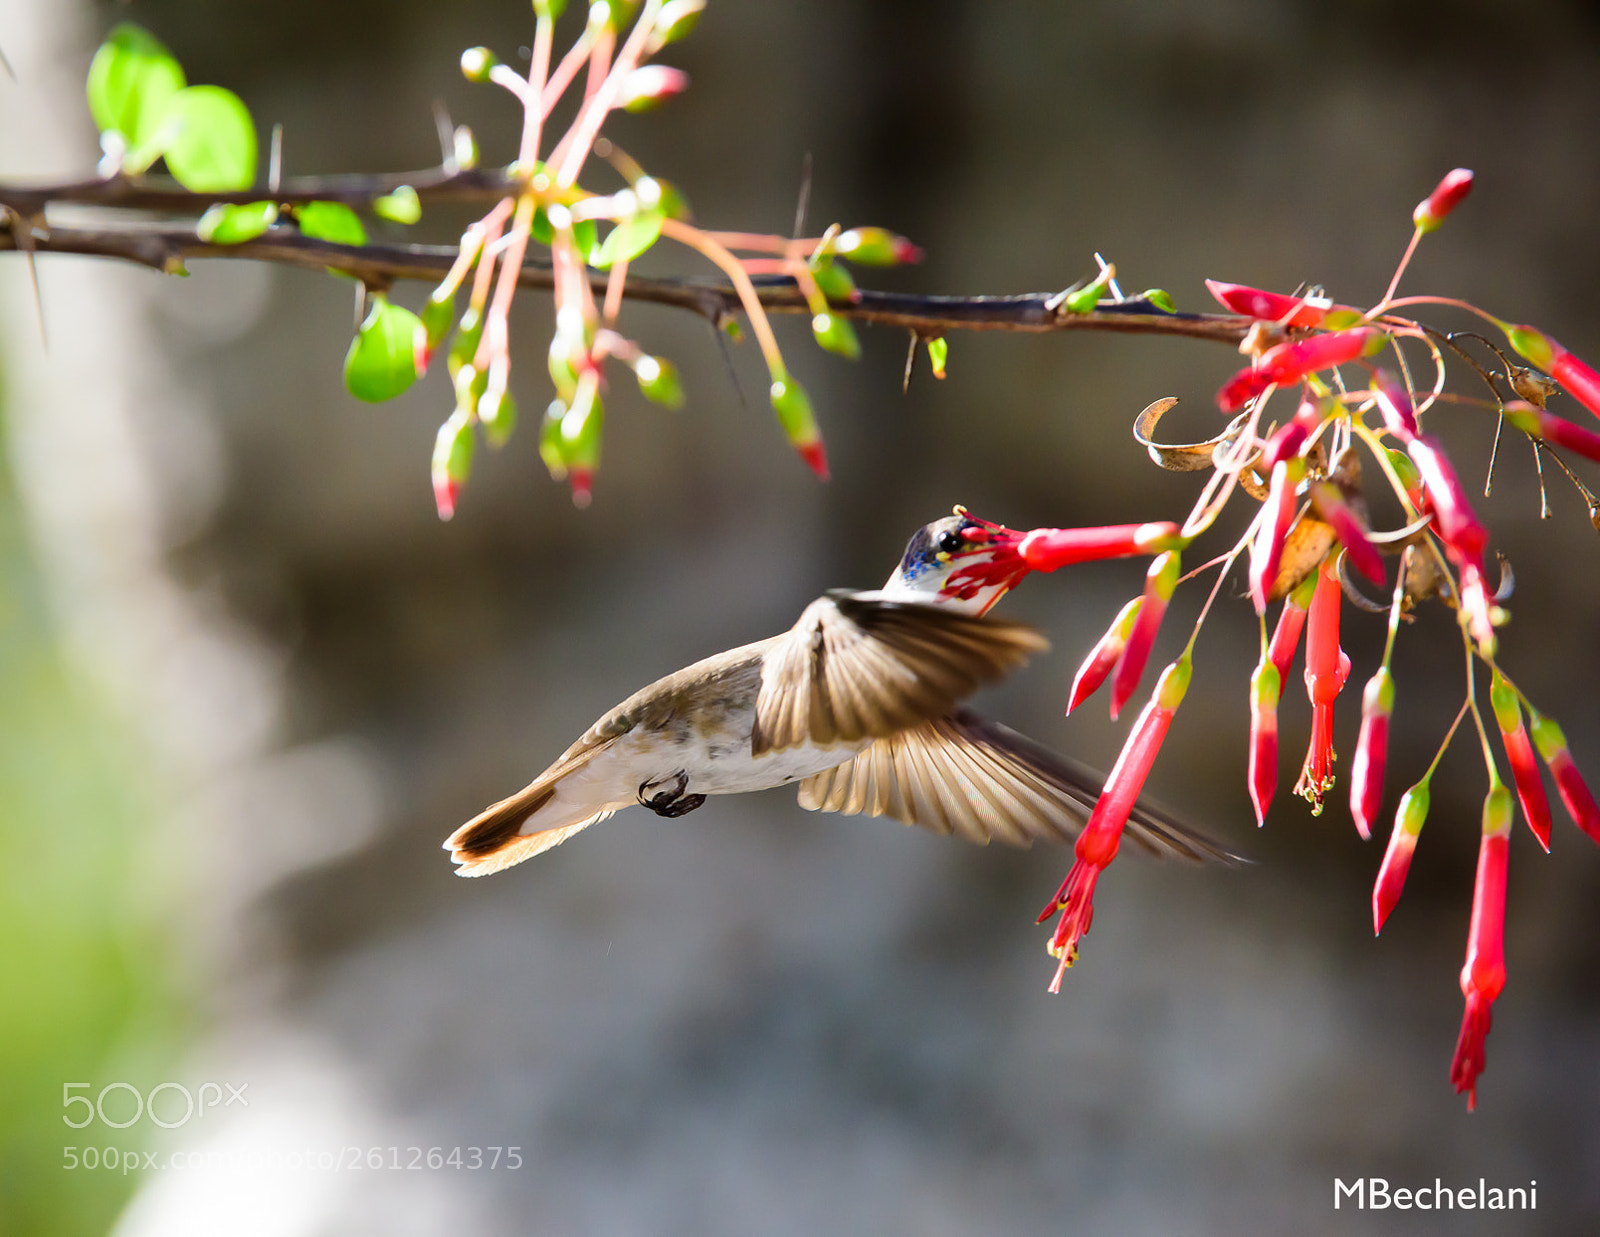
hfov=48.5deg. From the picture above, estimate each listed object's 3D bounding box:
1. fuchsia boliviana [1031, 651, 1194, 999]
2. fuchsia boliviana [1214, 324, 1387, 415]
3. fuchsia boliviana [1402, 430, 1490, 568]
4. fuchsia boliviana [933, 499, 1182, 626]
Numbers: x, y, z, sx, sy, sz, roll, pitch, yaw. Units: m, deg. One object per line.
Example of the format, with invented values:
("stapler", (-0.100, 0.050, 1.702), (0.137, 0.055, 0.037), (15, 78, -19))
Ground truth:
("fuchsia boliviana", (0.464, 0.300, 2.622), (0.073, 0.071, 0.683), (30, -102, -23))
("fuchsia boliviana", (0.525, -0.261, 1.864), (0.184, 0.138, 0.058), (-21, -74, 11))
("fuchsia boliviana", (0.681, -0.125, 1.861), (0.061, 0.080, 0.139), (-16, -71, -20))
("fuchsia boliviana", (0.286, -0.076, 1.930), (0.172, 0.169, 0.150), (-2, -86, -17))
